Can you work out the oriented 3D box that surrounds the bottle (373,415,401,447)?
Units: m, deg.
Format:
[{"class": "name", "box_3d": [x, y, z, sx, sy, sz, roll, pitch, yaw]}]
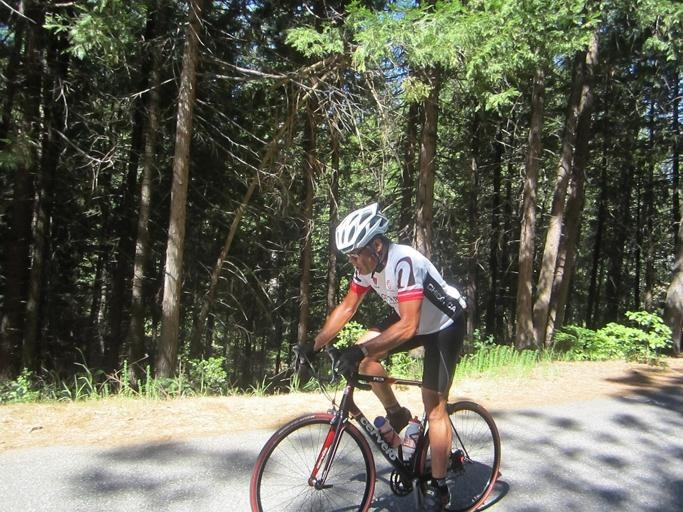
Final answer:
[{"class": "bottle", "box_3d": [0.583, 2.162, 7.447, 0.179, 0.183, 0.558, 2, -56, 52]}]

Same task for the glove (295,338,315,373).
[{"class": "glove", "box_3d": [-0.433, 1.134, 7.251, 0.143, 0.179, 0.424, 39, 19, -27]}]

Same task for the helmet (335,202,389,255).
[{"class": "helmet", "box_3d": [0.283, -0.305, 7.530, 0.472, 0.708, 0.320, 39, -4, 17]}]

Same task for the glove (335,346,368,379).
[{"class": "glove", "box_3d": [0.102, 1.212, 7.142, 0.285, 0.374, 0.151, 43, -4, -12]}]
